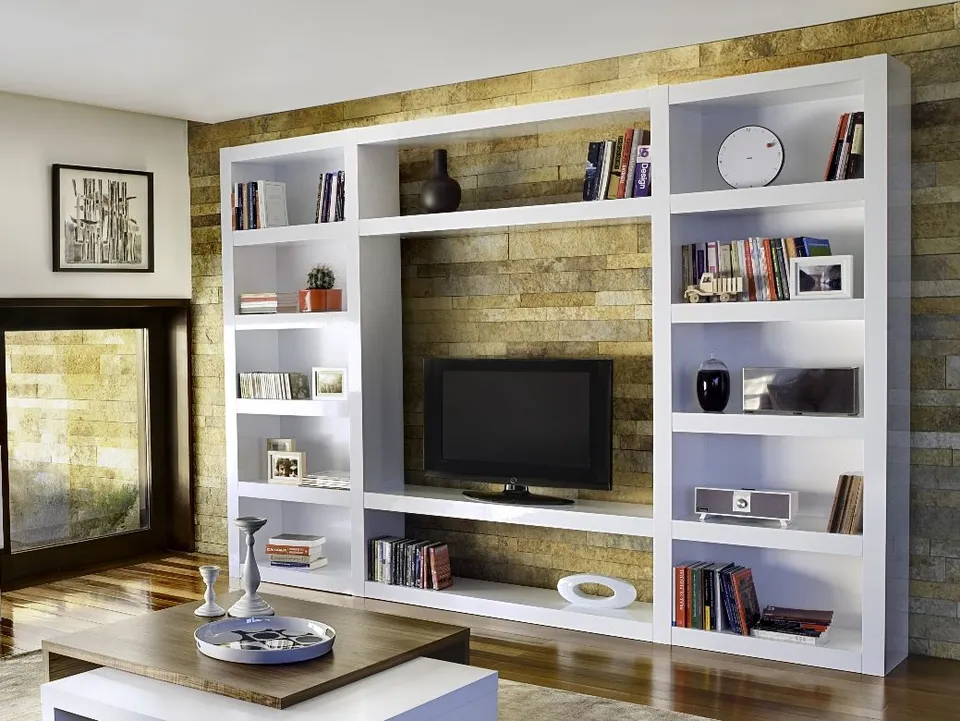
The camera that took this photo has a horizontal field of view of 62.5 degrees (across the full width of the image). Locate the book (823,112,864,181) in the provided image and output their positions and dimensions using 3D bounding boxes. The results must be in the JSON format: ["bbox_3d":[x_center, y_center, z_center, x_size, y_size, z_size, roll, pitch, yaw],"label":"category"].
[{"bbox_3d":[1.843,-1.076,3.988,0.074,0.301,0.308,3,3,-11],"label":"book"}]

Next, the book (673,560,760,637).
[{"bbox_3d":[1.257,1.230,4.383,0.545,0.511,0.309,-1,-1,25],"label":"book"}]

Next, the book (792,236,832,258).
[{"bbox_3d":[1.714,-0.584,4.083,0.147,0.128,0.055,-1,0,-41],"label":"book"}]

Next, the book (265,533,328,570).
[{"bbox_3d":[-1.273,1.289,5.597,0.338,0.161,0.238,-2,-1,30],"label":"book"}]

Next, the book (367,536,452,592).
[{"bbox_3d":[-0.471,1.313,5.104,0.448,0.229,0.296,2,-1,32],"label":"book"}]

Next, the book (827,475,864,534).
[{"bbox_3d":[1.843,0.720,3.963,0.062,0.247,0.248,3,-3,5],"label":"book"}]

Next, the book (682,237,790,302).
[{"bbox_3d":[1.377,-0.474,4.199,0.391,0.224,0.139,0,1,32],"label":"book"}]

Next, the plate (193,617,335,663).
[{"bbox_3d":[-0.829,1.084,3.100,0.512,0.059,0.550,4,-5,-8],"label":"plate"}]

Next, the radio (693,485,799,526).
[{"bbox_3d":[1.406,0.778,4.250,0.534,0.187,0.141,1,5,28],"label":"radio"}]

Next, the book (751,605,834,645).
[{"bbox_3d":[1.629,1.380,4.127,0.365,0.095,0.232,0,5,24],"label":"book"}]

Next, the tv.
[{"bbox_3d":[0.239,0.435,5.001,1.326,0.891,0.308,-1,-1,33],"label":"tv"}]

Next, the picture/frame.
[{"bbox_3d":[-2.794,-1.048,5.913,0.825,0.765,0.067,4,6,12],"label":"picture/frame"}]
